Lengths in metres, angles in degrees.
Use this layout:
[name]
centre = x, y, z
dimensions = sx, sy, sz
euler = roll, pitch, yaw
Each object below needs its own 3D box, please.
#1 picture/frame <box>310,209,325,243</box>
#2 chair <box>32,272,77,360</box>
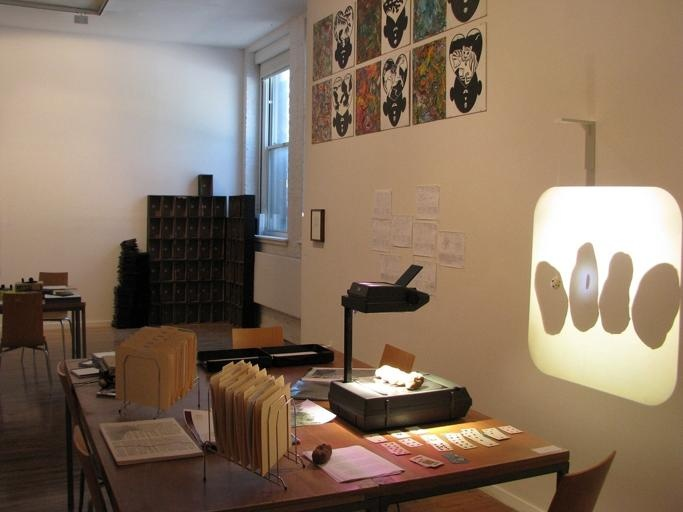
[picture/frame]
centre = -0.332, -0.411, 6.458
dimensions = 0.045, 0.304, 0.202
euler = 2, 4, 34
[chair]
centre = -4.160, 0.730, 7.509
dimensions = 0.441, 0.903, 0.515
euler = 4, 12, -28
